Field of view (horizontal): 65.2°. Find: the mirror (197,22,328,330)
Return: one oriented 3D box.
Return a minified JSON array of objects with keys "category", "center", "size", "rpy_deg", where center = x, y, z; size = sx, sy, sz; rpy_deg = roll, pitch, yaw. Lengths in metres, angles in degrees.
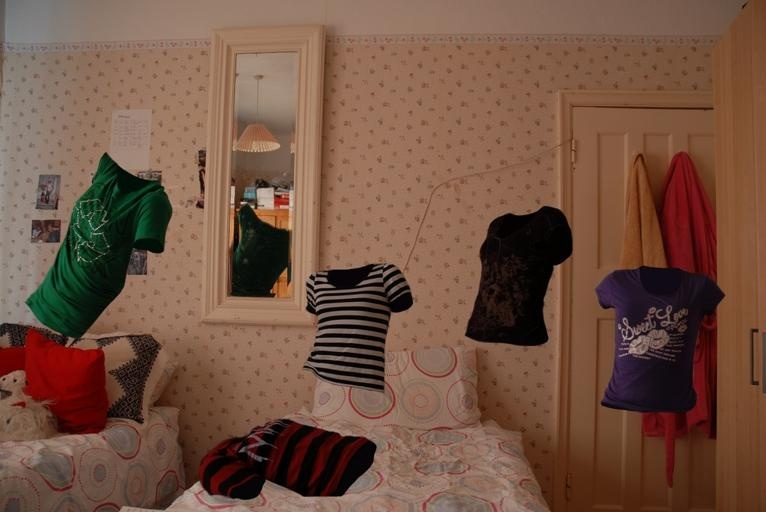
[{"category":"mirror","center":[-0.826,-0.560,4.106],"size":[0.872,2.095,0.047],"rpy_deg":[5,-1,5]}]

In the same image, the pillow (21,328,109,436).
[{"category":"pillow","center":[-1.926,0.785,3.611],"size":[0.513,0.528,0.204],"rpy_deg":[12,-2,18]}]

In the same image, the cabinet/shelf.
[{"category":"cabinet/shelf","center":[-0.810,-0.034,4.111],"size":[0.292,0.564,0.558],"rpy_deg":[6,0,-30]}]

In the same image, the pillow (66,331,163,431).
[{"category":"pillow","center":[-1.621,0.777,3.708],"size":[0.499,0.569,0.167],"rpy_deg":[1,-12,0]}]
